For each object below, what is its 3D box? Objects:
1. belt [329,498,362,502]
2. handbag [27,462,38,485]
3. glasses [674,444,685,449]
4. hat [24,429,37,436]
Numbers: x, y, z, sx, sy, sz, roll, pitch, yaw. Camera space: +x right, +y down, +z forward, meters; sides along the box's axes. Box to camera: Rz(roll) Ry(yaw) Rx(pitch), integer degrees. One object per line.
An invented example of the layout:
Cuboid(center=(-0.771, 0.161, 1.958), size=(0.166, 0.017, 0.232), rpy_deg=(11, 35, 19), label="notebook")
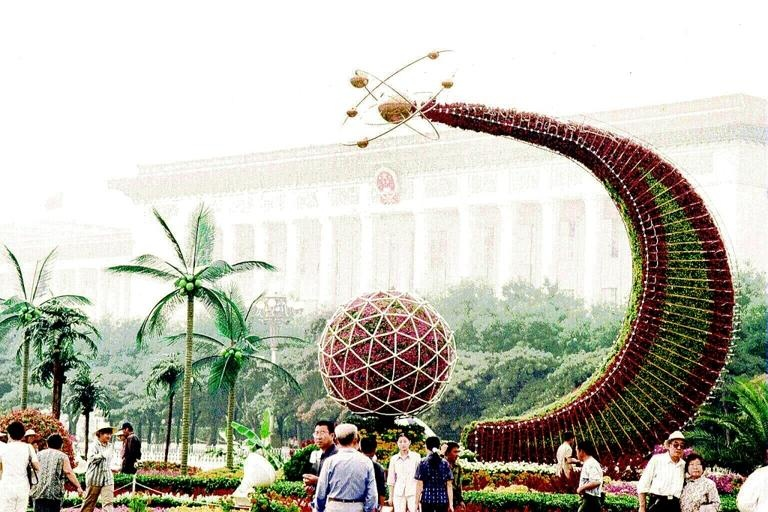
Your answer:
Cuboid(center=(-1.035, 6.177, 39.566), size=(0.745, 0.113, 0.060), rpy_deg=(0, -10, 0), label="belt")
Cuboid(center=(-9.488, 5.846, 41.952), size=(0.293, 0.618, 0.550), rpy_deg=(2, -10, -13), label="handbag")
Cuboid(center=(7.769, 4.980, 40.985), size=(0.265, 0.117, 0.074), rpy_deg=(3, -10, -14), label="glasses")
Cuboid(center=(-9.656, 4.813, 42.566), size=(0.287, 0.116, 0.295), rpy_deg=(0, -2, 5), label="hat")
